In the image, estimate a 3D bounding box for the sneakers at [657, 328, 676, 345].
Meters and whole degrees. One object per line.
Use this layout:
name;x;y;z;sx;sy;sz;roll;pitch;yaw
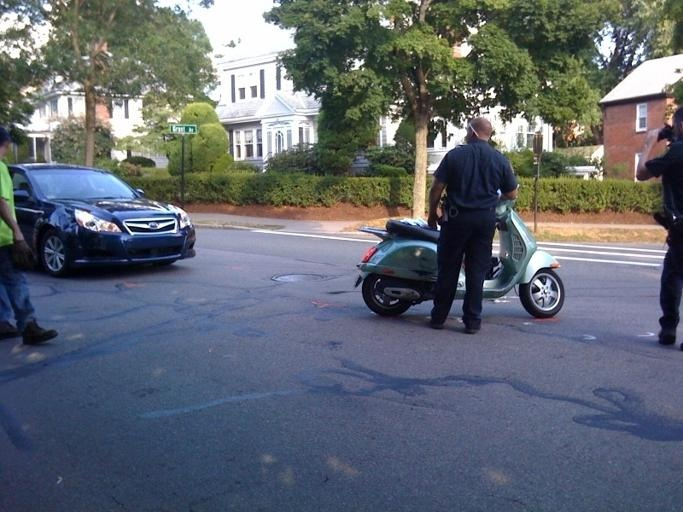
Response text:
sneakers;3.545;0.879;6.599;0.186;0.227;0.133;-1;6;4

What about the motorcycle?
motorcycle;1.479;0.014;8.013;2.793;1.926;1.259;0;3;-3

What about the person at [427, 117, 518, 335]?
person;1.480;-0.354;7.003;0.932;2.498;0.524;1;7;8
